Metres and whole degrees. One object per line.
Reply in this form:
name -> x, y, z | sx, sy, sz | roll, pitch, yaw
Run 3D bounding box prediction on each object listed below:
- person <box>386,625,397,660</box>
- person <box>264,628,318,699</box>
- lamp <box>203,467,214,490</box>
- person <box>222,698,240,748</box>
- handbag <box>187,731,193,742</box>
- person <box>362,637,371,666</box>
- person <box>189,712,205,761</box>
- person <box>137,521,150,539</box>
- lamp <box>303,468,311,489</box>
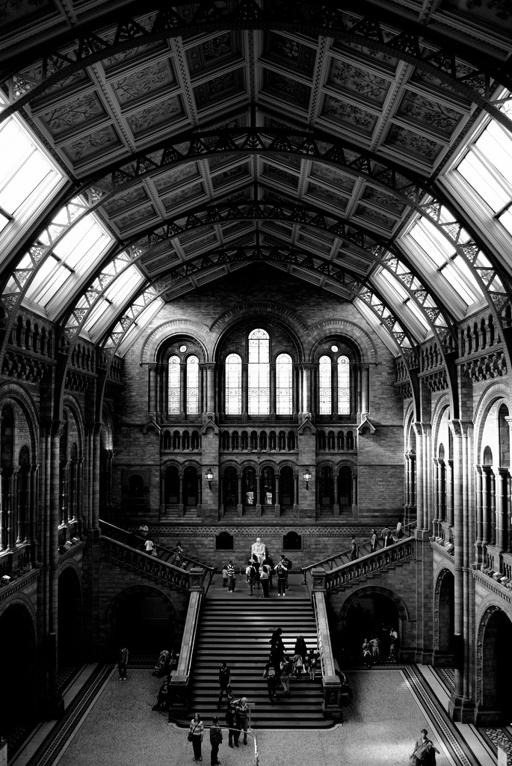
person -> 5.719, 10.839, 26.643 | 0.436, 1.141, 1.370 | 0, -4, 13
person -> 1.189, 9.856, 22.071 | 1.041, 1.617, 2.682 | -2, -24, 0
lamp -> -2.376, 4.988, 32.647 | 0.543, 1.135, 0.295 | 1, -4, -6
person -> -0.688, 10.172, 18.982 | 0.413, 0.930, 0.941 | 1, -4, -3
handbag -> -1.768, 9.547, 17.187 | 0.079, 0.282, 0.207 | 3, -4, -22
person -> 4.416, 10.885, 25.550 | 0.349, 0.889, 0.546 | 0, -4, 8
person -> -1.655, 9.687, 17.439 | 0.368, 1.261, 0.857 | 1, -4, -6
person -> -5.517, 7.286, 31.505 | 0.750, 1.030, 0.568 | 2, -24, -9
lamp -> 2.601, 5.022, 32.588 | 0.422, 0.990, 0.245 | 1, -4, 4
